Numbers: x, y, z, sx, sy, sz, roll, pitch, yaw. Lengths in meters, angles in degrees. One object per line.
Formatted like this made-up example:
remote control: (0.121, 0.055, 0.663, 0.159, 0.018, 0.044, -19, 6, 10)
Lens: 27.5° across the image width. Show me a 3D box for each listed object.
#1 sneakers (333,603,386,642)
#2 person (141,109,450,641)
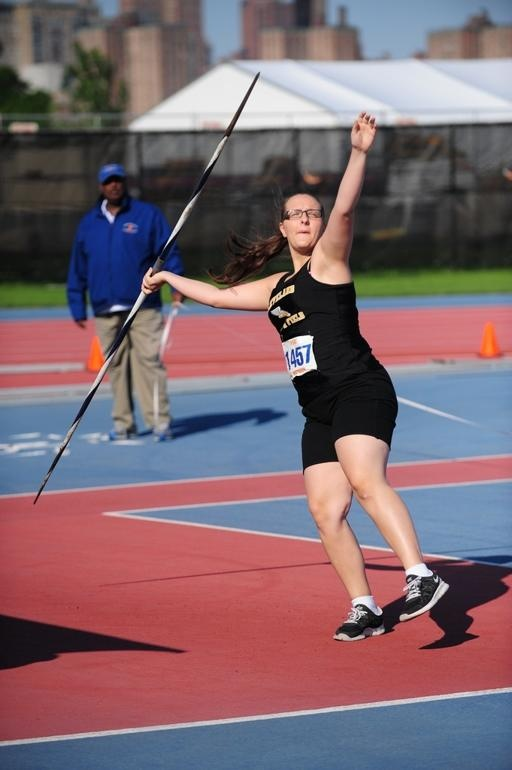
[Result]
sneakers: (0.386, 0.883, 3.885, 0.254, 0.118, 0.097, 1, -5, -38)
person: (0.269, 0.007, 3.898, 0.405, 1.903, 1.301, -8, 11, -31)
